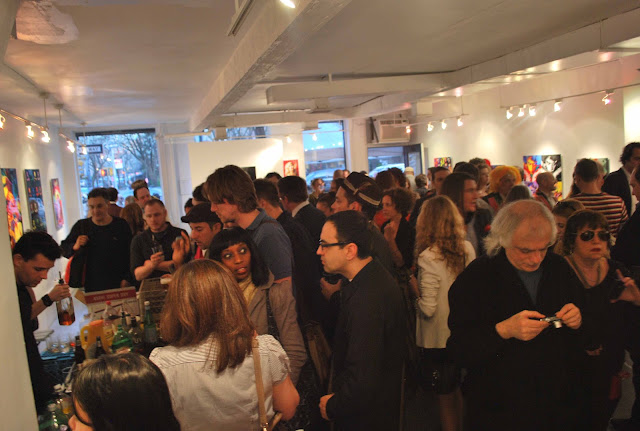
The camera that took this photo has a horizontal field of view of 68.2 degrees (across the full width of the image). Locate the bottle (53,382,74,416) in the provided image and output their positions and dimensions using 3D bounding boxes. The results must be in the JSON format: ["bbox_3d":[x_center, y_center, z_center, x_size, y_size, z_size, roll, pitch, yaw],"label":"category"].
[{"bbox_3d":[-1.844,1.367,3.446,0.154,0.148,0.090,-10,-14,5],"label":"bottle"}]

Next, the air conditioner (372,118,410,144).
[{"bbox_3d":[2.083,-2.500,14.066,1.262,0.662,0.834,-2,0,-3],"label":"air conditioner"}]

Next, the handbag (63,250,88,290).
[{"bbox_3d":[-2.967,0.668,5.708,0.413,0.325,0.205,-1,6,42],"label":"handbag"}]

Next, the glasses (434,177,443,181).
[{"bbox_3d":[1.580,-0.487,6.323,0.120,0.053,0.151,0,2,7],"label":"glasses"}]

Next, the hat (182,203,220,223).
[{"bbox_3d":[-1.159,-0.015,4.603,0.284,0.133,0.195,5,-2,-21],"label":"hat"}]

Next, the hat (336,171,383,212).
[{"bbox_3d":[0.405,-0.214,5.149,0.477,0.174,0.396,9,26,-24],"label":"hat"}]

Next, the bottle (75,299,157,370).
[{"bbox_3d":[-1.600,0.952,3.815,0.612,0.244,0.426,-6,6,0],"label":"bottle"}]

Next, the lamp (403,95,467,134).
[{"bbox_3d":[2.869,-2.421,11.473,1.334,0.751,4.838,-3,5,13],"label":"lamp"}]

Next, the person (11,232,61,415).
[{"bbox_3d":[-2.227,0.813,3.796,0.332,1.130,0.760,-7,5,-24],"label":"person"}]

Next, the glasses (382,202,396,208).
[{"bbox_3d":[0.767,-0.121,5.407,0.058,0.073,0.164,-8,6,-35],"label":"glasses"}]

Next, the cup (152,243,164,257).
[{"bbox_3d":[-1.612,0.355,4.675,0.117,0.123,0.114,0,-3,0],"label":"cup"}]

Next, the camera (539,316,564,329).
[{"bbox_3d":[1.498,0.680,3.081,0.136,0.082,0.067,9,43,35],"label":"camera"}]
